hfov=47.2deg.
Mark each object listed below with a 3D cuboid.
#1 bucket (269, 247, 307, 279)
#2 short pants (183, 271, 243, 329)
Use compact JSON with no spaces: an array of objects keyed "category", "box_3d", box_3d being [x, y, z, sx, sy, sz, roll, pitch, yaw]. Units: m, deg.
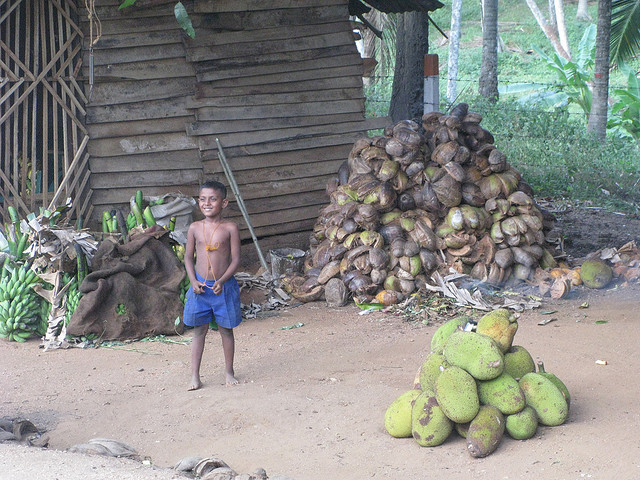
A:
[{"category":"bucket","box_3d":[-0.435,0.305,9.595,0.420,0.341,0.397,3,-7,0]},{"category":"short pants","box_3d":[-1.017,0.542,6.938,0.565,0.528,0.304,1,14,-5]}]
